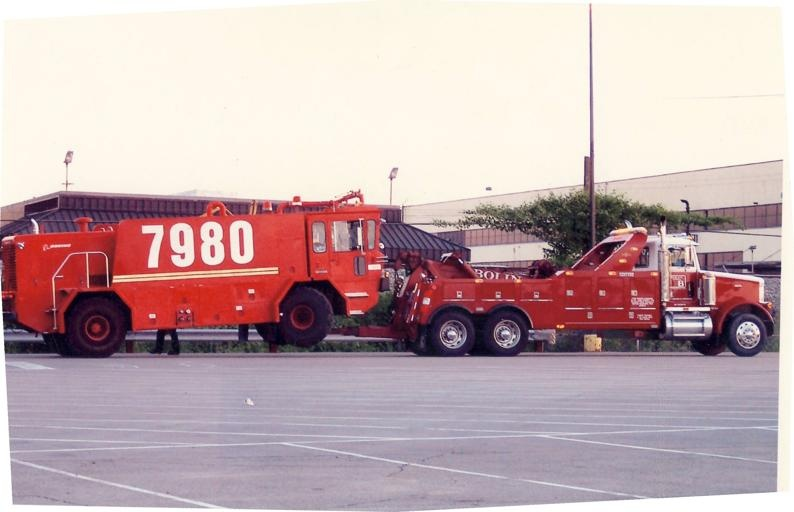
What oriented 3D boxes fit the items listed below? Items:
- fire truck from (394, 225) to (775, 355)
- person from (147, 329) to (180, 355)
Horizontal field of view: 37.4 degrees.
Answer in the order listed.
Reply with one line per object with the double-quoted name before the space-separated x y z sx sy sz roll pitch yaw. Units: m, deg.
"fire truck" 4.543 1.068 31.683 11.440 3.831 3.668 -1 1 -8
"person" -5.957 2.196 29.795 0.757 0.668 0.352 4 36 -12
